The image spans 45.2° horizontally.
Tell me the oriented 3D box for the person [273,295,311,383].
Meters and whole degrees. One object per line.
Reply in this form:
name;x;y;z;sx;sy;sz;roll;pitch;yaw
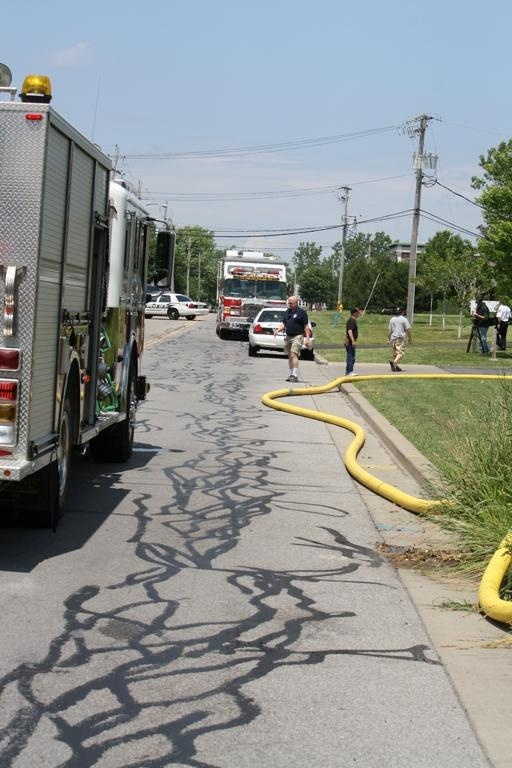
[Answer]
person;1.155;-1.361;18.509;0.880;2.533;0.772;0;6;-4

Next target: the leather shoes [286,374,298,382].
leather shoes;1.065;-0.150;18.368;0.299;0.254;0.433;2;-4;6
